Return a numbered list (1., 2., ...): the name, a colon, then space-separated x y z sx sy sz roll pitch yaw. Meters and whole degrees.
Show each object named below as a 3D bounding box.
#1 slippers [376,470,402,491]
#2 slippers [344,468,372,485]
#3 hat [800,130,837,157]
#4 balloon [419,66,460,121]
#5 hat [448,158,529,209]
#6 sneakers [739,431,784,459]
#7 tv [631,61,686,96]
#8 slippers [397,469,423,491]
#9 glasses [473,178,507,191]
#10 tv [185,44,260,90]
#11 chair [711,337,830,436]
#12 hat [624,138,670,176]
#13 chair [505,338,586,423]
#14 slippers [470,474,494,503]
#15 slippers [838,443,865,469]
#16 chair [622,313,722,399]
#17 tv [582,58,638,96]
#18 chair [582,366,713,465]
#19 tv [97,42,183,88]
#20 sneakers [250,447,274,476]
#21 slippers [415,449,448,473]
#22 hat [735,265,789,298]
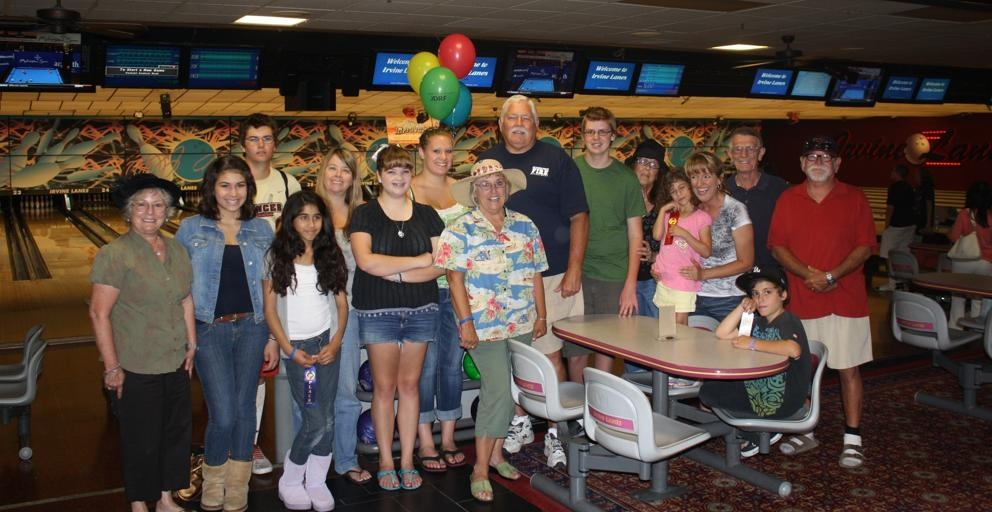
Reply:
1. slippers: -0.858 1.824 4.918 0.144 0.059 0.211 2 -2 -10
2. slippers: -1.154 1.822 5.047 0.231 0.091 0.114 8 16 30
3. hat: 2.937 -0.994 5.464 0.251 0.159 0.461 8 15 29
4. balloon: -0.503 -1.634 6.120 0.598 0.556 0.510 0 5 -2
5. hat: -0.069 -0.611 4.866 0.531 0.151 0.468 -21 5 -7
6. sneakers: 2.316 1.656 5.357 0.356 0.218 0.101 -31 1 14
7. tv: 2.325 -2.608 8.794 0.785 0.411 0.064 0 39 -14
8. slippers: -0.687 1.806 4.956 0.189 0.158 0.158 -5 15 -19
9. glasses: -0.023 -0.561 4.750 0.144 0.071 0.159 -4 3 -1
10. tv: -3.301 -2.316 7.306 0.679 0.304 0.076 -3 20 -13
11. chair: 2.219 1.047 5.152 0.937 0.598 0.886 1 -1 12
12. hat: 1.510 -0.991 6.050 0.514 0.271 0.574 3 -5 6
13. chair: 0.436 0.964 4.824 0.624 0.624 0.343 -3 16 -10
14. slippers: -0.108 1.856 4.843 0.180 0.167 0.134 -1 15 -2
15. slippers: 3.045 1.706 5.181 0.170 0.146 0.235 10 17 34
16. chair: 1.596 0.880 5.705 0.895 0.808 0.846 7 -2 -34
17. tv: 1.608 -2.549 8.547 0.771 0.396 0.127 -6 17 -25
18. chair: 1.077 1.106 4.728 0.949 0.626 0.858 -3 7 -33
19. tv: -4.189 -2.278 7.113 0.690 0.302 0.080 0 16 -15
20. sneakers: -2.002 1.752 5.212 0.171 0.146 0.256 -6 15 -21
21. slippers: -0.542 1.726 5.164 0.262 0.148 0.205 -1 14 -6
22. hat: 2.223 0.198 4.997 0.395 0.152 0.247 15 -23 -5
